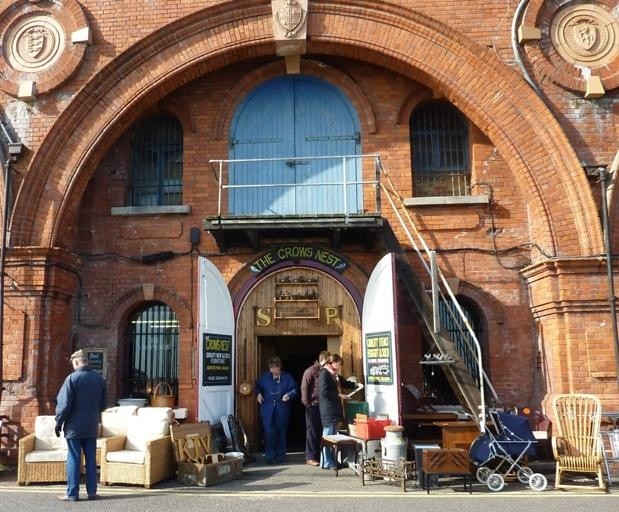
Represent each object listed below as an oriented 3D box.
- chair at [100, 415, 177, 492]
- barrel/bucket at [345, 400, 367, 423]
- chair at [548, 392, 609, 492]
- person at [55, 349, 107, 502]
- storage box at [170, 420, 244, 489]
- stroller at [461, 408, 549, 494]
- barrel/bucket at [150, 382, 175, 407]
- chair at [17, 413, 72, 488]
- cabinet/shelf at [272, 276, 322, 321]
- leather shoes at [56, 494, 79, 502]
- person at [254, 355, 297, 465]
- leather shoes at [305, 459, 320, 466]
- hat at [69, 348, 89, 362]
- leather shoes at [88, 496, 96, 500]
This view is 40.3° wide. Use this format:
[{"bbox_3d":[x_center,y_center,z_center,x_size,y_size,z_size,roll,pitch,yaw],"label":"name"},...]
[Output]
[{"bbox_3d":[-2.992,3.331,14.683,1.232,1.273,1.309,-6,-10,43],"label":"chair"},{"bbox_3d":[0.946,3.066,16.827,0.395,0.811,0.434,0,-4,0],"label":"barrel/bucket"},{"bbox_3d":[4.628,3.211,14.498,1.004,1.593,1.169,-6,-10,37],"label":"chair"},{"bbox_3d":[-3.713,2.721,13.674,0.777,2.384,0.348,2,-13,-17],"label":"person"},{"bbox_3d":[-1.808,3.502,14.820,0.890,1.165,1.195,-11,-14,31],"label":"storage box"},{"bbox_3d":[3.344,3.322,14.451,1.232,1.370,0.924,-3,-12,0],"label":"stroller"},{"bbox_3d":[-3.028,2.863,17.360,0.376,0.527,0.393,-3,-20,-1],"label":"barrel/bucket"},{"bbox_3d":[-4.625,3.437,14.952,1.021,1.218,1.204,-3,-10,8],"label":"chair"},{"bbox_3d":[-0.251,0.944,17.858,0.796,0.840,0.271,0,-12,0],"label":"cabinet/shelf"},{"bbox_3d":[-3.839,3.846,13.354,0.314,0.136,0.130,6,-21,13],"label":"leather shoes"},{"bbox_3d":[-0.651,3.016,16.639,0.784,2.068,0.370,-1,-12,-4],"label":"person"},{"bbox_3d":[0.056,3.931,16.007,0.267,0.139,0.094,-13,-16,43],"label":"leather shoes"},{"bbox_3d":[-3.865,1.654,14.115,0.349,0.229,0.511,1,-6,-19],"label":"hat"},{"bbox_3d":[-3.476,3.853,13.446,0.108,0.084,0.060,0,-8,1],"label":"leather shoes"}]
